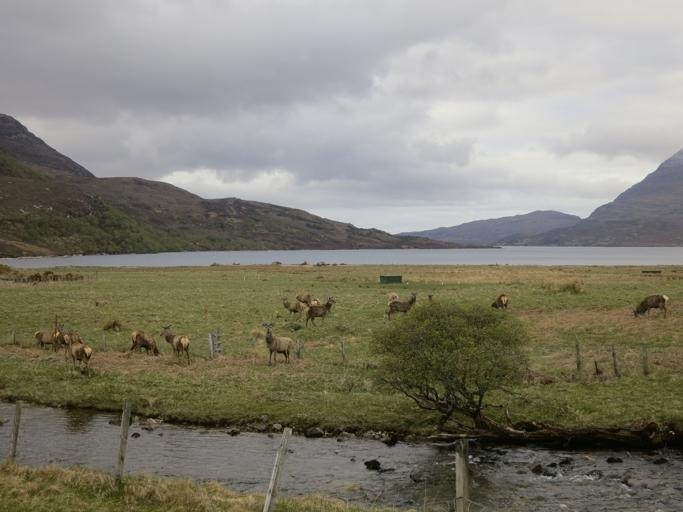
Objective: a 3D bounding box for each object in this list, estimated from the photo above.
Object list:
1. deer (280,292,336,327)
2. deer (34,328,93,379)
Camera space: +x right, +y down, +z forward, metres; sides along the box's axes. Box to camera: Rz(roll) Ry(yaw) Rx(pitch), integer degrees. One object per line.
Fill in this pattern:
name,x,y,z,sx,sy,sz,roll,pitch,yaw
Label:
deer,-3.220,4.726,81.005,4.247,2.408,9.531,-1,8,-9
deer,-21.735,6.965,65.364,1.580,2.056,8.288,-7,12,-39
